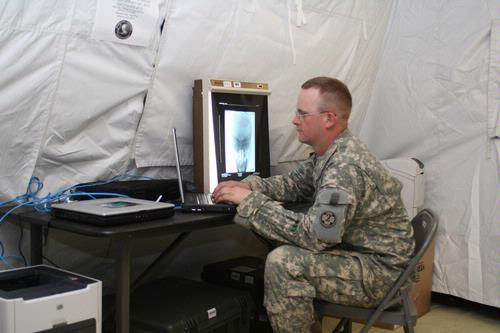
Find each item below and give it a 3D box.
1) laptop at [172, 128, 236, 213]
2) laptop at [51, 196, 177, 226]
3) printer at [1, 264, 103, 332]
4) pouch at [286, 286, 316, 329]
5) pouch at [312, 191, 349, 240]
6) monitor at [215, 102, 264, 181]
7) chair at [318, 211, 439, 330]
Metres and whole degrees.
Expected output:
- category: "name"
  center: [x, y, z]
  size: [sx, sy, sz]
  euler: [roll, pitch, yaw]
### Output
- category: "laptop"
  center: [-0.256, 0.040, 2.417]
  size: [0.457, 0.374, 0.524]
  euler: [4, 0, -15]
- category: "laptop"
  center: [-0.680, 0.225, 2.034]
  size: [0.550, 0.081, 0.391]
  euler: [-1, 4, -43]
- category: "printer"
  center: [-0.940, 0.591, 1.768]
  size: [0.341, 0.214, 0.335]
  euler: [0, -1, 41]
- category: "pouch"
  center: [0.264, 0.713, 1.996]
  size: [0.165, 0.221, 0.036]
  euler: [1, 3, -18]
- category: "pouch"
  center: [0.398, 0.231, 1.908]
  size: [0.151, 0.231, 0.078]
  euler: [9, 0, 17]
- category: "monitor"
  center: [-0.071, -0.180, 2.791]
  size: [0.390, 0.542, 0.079]
  euler: [0, 4, -40]
- category: "chair"
  center: [0.811, 0.612, 2.467]
  size: [0.737, 0.944, 0.579]
  euler: [3, -2, 10]
